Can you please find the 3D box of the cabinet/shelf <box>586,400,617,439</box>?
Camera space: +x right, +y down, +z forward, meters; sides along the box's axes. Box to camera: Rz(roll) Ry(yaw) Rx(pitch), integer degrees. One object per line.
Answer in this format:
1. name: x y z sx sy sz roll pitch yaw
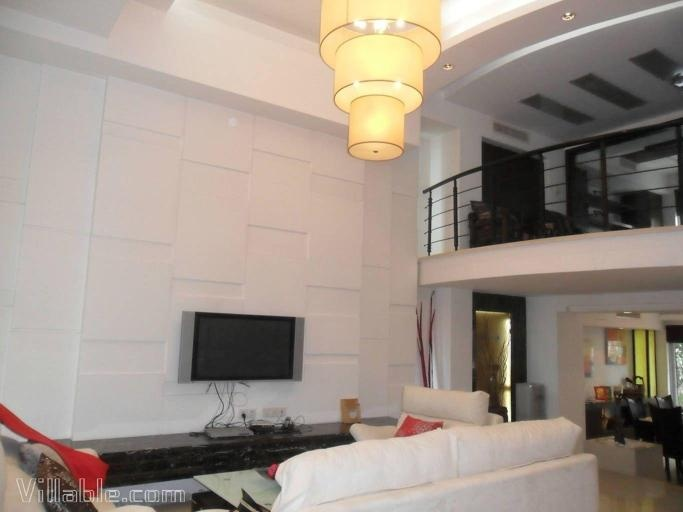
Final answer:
1. cabinet/shelf: 4.516 2.868 8.809 0.329 0.425 0.618 -2 -5 45
